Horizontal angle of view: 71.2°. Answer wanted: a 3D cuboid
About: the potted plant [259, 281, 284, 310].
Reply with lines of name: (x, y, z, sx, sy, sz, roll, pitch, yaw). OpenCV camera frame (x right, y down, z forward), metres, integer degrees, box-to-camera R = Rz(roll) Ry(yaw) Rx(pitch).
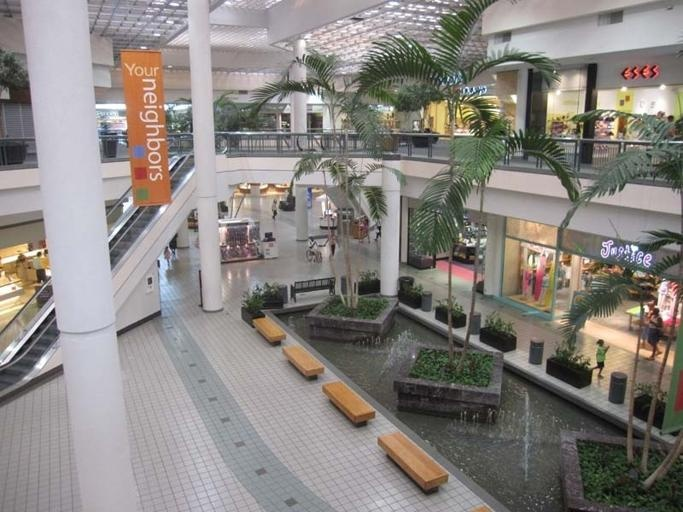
potted plant: (-2.033, 1.136, 14.157, 0.665, 0.708, 0.683, 0, 1, -3)

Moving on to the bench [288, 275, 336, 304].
bench: (-0.910, 0.979, 14.788, 1.335, 0.648, 1.080, -2, 14, -10)

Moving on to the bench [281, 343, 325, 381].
bench: (-0.797, 2.327, 10.246, 0.503, 0.400, 1.140, -8, 16, -32)

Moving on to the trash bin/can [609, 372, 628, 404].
trash bin/can: (5.235, 2.500, 9.078, 0.260, 0.532, 0.309, 6, 14, 22)

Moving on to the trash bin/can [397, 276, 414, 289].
trash bin/can: (1.970, 0.869, 14.633, 0.349, 0.334, 0.401, 2, 15, -2)

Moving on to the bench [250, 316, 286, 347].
bench: (-1.770, 1.911, 11.897, 0.498, 0.409, 1.301, -8, 16, -31)
